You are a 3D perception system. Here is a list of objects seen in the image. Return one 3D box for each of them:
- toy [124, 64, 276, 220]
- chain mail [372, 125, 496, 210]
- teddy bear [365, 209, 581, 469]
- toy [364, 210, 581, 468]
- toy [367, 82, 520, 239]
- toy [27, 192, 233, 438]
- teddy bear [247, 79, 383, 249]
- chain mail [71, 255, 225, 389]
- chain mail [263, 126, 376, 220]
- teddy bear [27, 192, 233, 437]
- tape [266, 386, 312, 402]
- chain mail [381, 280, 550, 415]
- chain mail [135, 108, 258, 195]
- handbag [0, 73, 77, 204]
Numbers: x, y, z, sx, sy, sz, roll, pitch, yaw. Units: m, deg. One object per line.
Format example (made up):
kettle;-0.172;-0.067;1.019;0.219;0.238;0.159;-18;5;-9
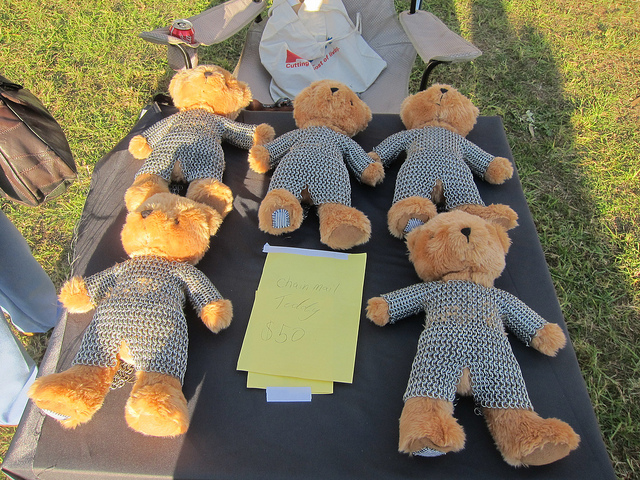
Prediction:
toy;-0.494;-0.404;2.174;0.458;0.221;0.694;8;59;0
chain mail;0.419;-0.281;2.165;0.414;0.157;0.331;2;54;1
teddy bear;0.499;0.351;1.812;0.593;0.307;0.827;0;67;9
toy;0.514;0.325;1.906;0.633;0.320;0.928;-7;50;10
toy;0.464;-0.297;2.135;0.489;0.250;0.657;2;57;7
toy;-0.556;0.338;2.069;0.714;0.715;1.119;-3;55;-5
teddy bear;-0.011;-0.335;2.229;0.511;0.263;0.795;4;56;1
chain mail;-0.595;0.261;1.765;0.401;0.133;0.469;5;70;-1
chain mail;-0.006;-0.246;2.129;0.219;0.191;0.386;10;49;6
teddy bear;-0.593;0.276;1.981;0.532;0.324;0.841;6;66;5
tape;-0.106;0.520;1.848;0.118;0.010;0.045;-1;74;-1
chain mail;0.481;0.337;1.813;0.483;0.162;0.438;4;69;8
chain mail;-0.503;-0.358;2.205;0.461;0.173;0.319;3;54;2
handbag;-1.047;-0.323;2.023;0.287;0.158;0.456;-23;101;-26
